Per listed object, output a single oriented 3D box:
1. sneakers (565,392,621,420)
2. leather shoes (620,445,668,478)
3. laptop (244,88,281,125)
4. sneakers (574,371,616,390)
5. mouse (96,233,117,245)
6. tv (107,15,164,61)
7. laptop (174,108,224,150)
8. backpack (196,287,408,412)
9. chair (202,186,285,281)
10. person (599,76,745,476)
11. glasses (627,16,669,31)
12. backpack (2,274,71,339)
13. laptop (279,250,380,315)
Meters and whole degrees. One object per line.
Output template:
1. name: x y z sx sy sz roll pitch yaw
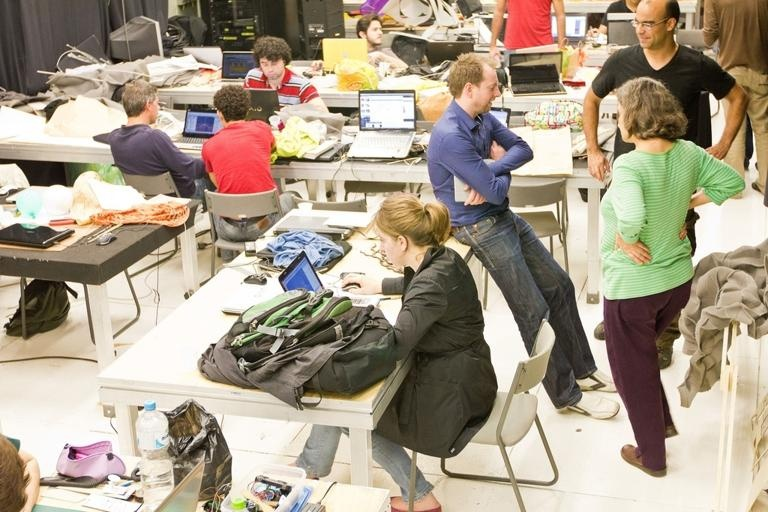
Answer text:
1. sneakers: 1.305 0.962 3.868 0.378 0.105 0.148 1 39 24
2. leather shoes: 1.483 1.169 3.473 0.112 0.094 0.240 -27 44 -23
3. laptop: -1.105 -1.469 5.899 0.421 0.389 0.316 3 23 8
4. sneakers: 1.343 0.842 4.000 0.328 0.136 0.107 -2 15 2
5. mouse: -1.889 -0.120 4.098 0.072 0.033 0.103 7 26 18
6. tv: -3.392 -2.967 8.208 0.977 0.553 0.379 11 25 41
7. laptop: -1.832 -1.232 5.876 0.547 0.326 0.464 4 32 5
8. backpack: -0.338 0.425 2.779 0.638 0.227 0.637 12 29 24
9. chair: -1.004 -0.198 4.780 0.539 0.867 0.607 0 45 1
10. person: 1.460 0.171 3.225 0.572 2.172 0.394 -1 19 14
11. glasses: 1.622 -1.455 3.774 0.134 0.066 0.234 -16 21 -29
12. backpack: -2.721 0.420 4.740 0.233 0.370 0.398 28 35 21
13. laptop: -0.319 0.150 3.306 0.384 0.229 0.377 7 30 11
